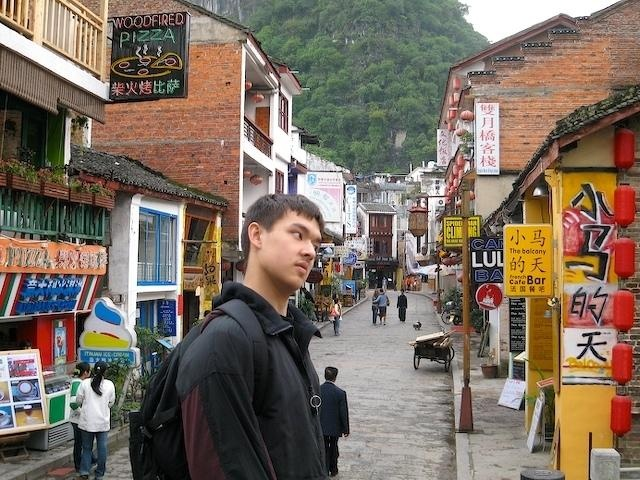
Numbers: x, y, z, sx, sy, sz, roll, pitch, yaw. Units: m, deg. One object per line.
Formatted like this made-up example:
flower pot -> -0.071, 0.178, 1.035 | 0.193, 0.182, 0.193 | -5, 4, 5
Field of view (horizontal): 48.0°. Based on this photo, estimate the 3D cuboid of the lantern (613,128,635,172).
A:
lantern -> 4.629, -1.423, 10.963 | 0.264, 0.648, 0.155 | -1, -5, 5

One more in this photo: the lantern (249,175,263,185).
lantern -> -2.321, -2.188, 25.840 | 0.300, 0.314, 0.340 | -1, -4, -9

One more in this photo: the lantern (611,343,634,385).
lantern -> 4.481, 1.854, 10.681 | 0.280, 0.615, 0.151 | -2, -6, 16

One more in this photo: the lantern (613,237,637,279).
lantern -> 4.532, 0.269, 10.722 | 0.285, 0.599, 0.311 | -3, -6, 23

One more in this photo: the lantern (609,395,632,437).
lantern -> 4.484, 2.634, 10.705 | 0.309, 0.609, 0.254 | -2, -6, 16

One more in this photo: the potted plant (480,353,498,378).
potted plant -> 4.796, 3.598, 20.316 | 0.543, 0.788, 0.615 | 1, 2, 7

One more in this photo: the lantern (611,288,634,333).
lantern -> 4.518, 1.057, 10.725 | 0.294, 0.620, 0.252 | -3, -6, 24

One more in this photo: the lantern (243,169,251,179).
lantern -> -2.544, -2.331, 24.928 | 0.255, 0.264, 0.268 | 2, 1, 33

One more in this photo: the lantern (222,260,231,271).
lantern -> -3.040, 0.814, 23.125 | 0.247, 0.390, 0.370 | -1, -3, 4

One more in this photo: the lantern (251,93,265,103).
lantern -> -2.303, -5.354, 26.194 | 0.396, 0.319, 0.398 | 1, -7, -40

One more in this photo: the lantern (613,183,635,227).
lantern -> 4.586, -0.538, 10.847 | 0.290, 0.675, 0.220 | -3, -6, 21
